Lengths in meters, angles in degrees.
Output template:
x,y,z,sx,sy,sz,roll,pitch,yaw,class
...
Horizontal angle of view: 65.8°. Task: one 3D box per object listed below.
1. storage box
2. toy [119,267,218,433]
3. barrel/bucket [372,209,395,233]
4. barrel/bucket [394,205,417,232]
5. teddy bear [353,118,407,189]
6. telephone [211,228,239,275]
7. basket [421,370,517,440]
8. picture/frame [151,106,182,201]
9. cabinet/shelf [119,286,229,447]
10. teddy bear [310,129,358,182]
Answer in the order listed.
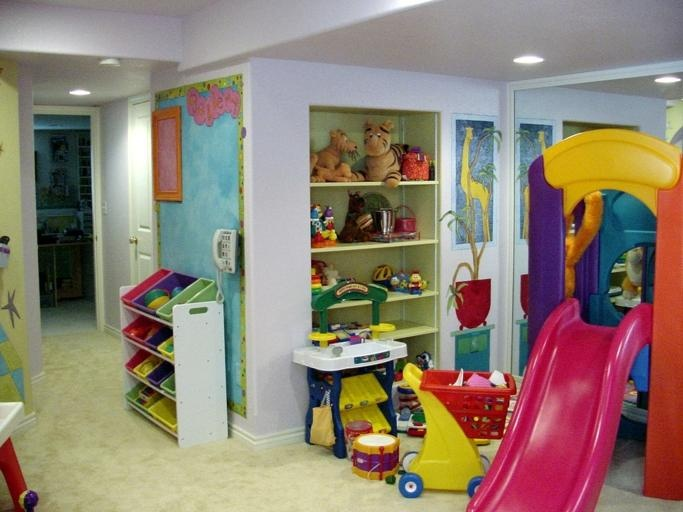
x,y,z,sx,sy,sz,roll,pitch,yaw,class
-1.301,0.752,4.036,0.405,1.149,1.138,-1,4,-36,storage box
-1.307,0.748,4.044,0.418,1.168,1.160,-1,3,-36,toy
0.366,-0.285,4.390,0.188,0.198,0.177,0,-1,0,barrel/bucket
0.539,-0.321,4.572,0.226,0.236,0.224,-1,8,0,barrel/bucket
0.313,-0.844,4.346,0.417,0.526,0.365,-1,9,6,teddy bear
-0.819,-0.027,3.772,0.269,0.327,0.118,6,12,41,telephone
0.723,0.856,3.103,0.536,0.310,0.400,1,-4,8,basket
-1.512,-0.873,4.553,0.091,0.792,0.578,-9,11,-39,picture/frame
-1.378,0.777,4.223,0.435,1.043,1.138,-5,8,-40,cabinet/shelf
-0.058,-0.793,4.195,0.509,0.400,0.389,-5,10,-21,teddy bear
